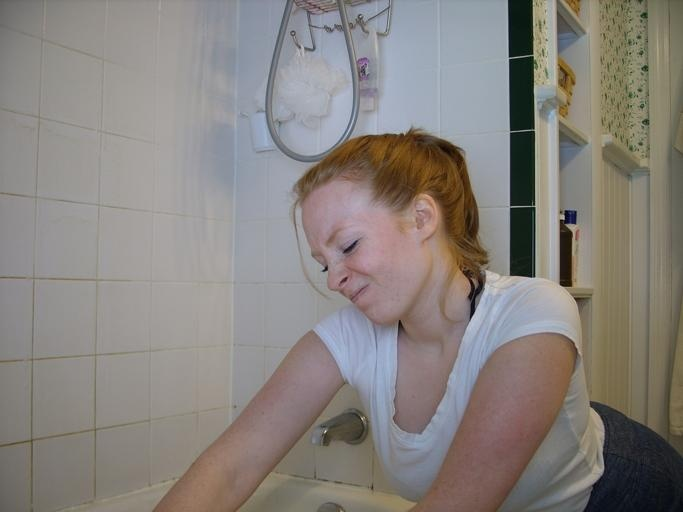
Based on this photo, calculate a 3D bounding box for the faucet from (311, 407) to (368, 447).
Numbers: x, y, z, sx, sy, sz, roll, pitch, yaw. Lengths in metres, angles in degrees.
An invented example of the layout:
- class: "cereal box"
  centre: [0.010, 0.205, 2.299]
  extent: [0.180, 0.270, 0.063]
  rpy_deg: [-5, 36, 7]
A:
- class: "faucet"
  centre: [-0.011, 0.552, 1.884]
  extent: [0.098, 0.113, 0.176]
  rpy_deg: [0, -7, 32]
